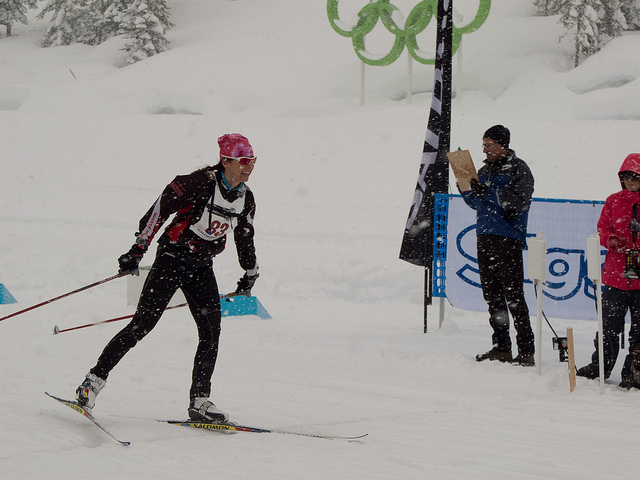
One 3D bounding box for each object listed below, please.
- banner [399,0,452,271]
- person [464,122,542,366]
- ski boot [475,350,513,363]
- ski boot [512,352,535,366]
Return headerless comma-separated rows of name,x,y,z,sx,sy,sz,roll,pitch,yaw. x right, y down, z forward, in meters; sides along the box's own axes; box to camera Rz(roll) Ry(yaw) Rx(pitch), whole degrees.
banner,2.005,-1.882,18.773,0.651,4.643,1.022,9,16,38
person,2.931,0.080,16.875,1.180,3.755,0.732,5,14,26
ski boot,2.843,1.862,17.169,0.639,0.261,0.211,5,-8,14
ski boot,3.248,1.900,16.893,0.325,0.209,0.179,8,-8,3
